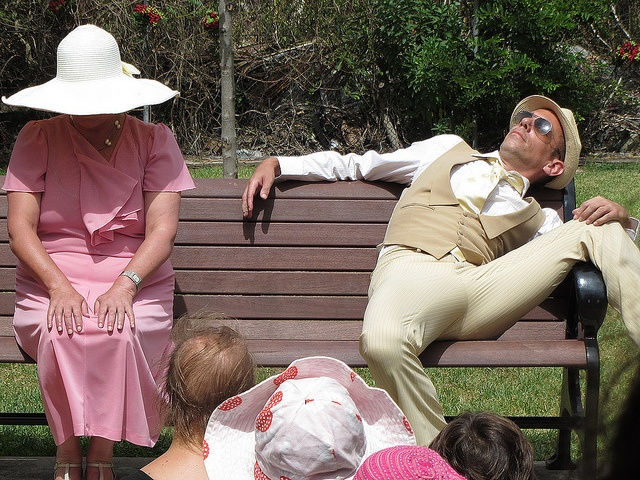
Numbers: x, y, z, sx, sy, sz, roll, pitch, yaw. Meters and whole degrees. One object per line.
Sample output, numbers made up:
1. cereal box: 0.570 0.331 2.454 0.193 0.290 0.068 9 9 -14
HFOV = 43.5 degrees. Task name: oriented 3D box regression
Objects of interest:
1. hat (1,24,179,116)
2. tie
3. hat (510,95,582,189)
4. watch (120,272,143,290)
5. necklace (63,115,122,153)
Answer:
1. hat: -1.094 -0.774 3.883 0.588 0.258 0.585 -14 15 -34
2. tie: 0.870 -0.312 4.195 0.290 0.295 0.128 -28 -18 -18
3. hat: 1.242 -0.512 4.307 0.116 0.483 0.459 -12 26 -35
4. watch: -0.898 0.190 3.800 0.082 0.022 0.083 35 -19 27
5. necklace: -1.093 -0.553 3.934 0.175 0.226 0.167 -5 12 2
